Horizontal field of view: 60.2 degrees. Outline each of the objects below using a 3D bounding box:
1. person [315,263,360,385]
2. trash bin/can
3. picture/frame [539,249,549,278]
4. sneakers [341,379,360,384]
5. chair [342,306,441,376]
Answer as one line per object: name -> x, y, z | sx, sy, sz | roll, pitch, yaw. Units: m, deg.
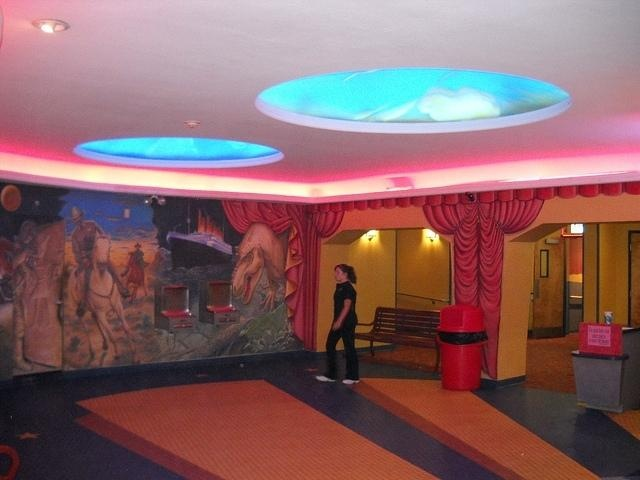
person -> 0.367, 1.408, 9.239 | 0.647, 2.004, 0.779 | 0, 3, -18
trash bin/can -> 2.340, 1.726, 9.086 | 0.816, 1.217, 0.796 | 2, -3, -26
picture/frame -> 6.041, 0.628, 14.784 | 0.352, 0.753, 0.127 | -2, 4, -40
sneakers -> 0.508, 2.370, 9.180 | 0.176, 0.063, 0.107 | 4, -7, -7
chair -> 1.668, 1.912, 10.620 | 0.713, 1.018, 1.946 | 6, -4, -41
